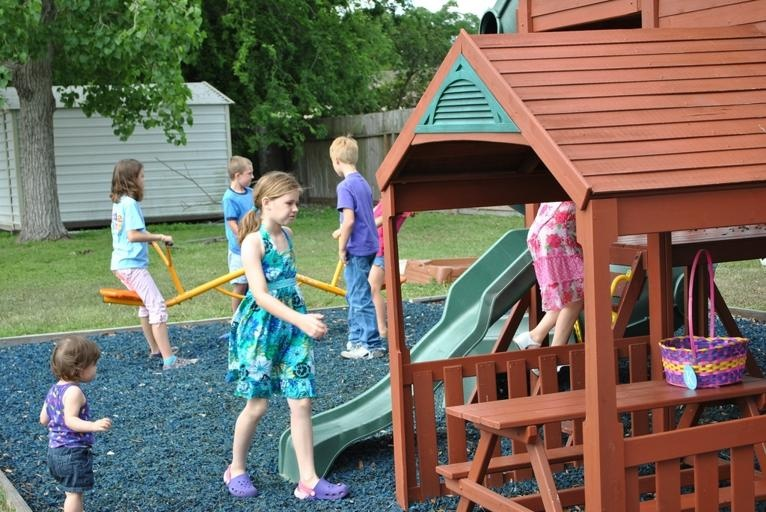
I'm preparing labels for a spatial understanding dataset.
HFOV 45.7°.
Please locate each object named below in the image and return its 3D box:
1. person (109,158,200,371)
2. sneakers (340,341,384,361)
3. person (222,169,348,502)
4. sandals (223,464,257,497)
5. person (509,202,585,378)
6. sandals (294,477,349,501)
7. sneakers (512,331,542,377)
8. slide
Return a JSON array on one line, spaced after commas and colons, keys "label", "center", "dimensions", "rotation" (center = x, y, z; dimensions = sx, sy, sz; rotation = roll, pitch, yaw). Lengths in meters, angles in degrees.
[{"label": "person", "center": [-2.296, 0.066, 8.731], "dimensions": [0.578, 2.003, 0.813], "rotation": [-6, 12, -15]}, {"label": "sneakers", "center": [-0.200, 0.930, 8.855], "dimensions": [0.420, 0.199, 0.159], "rotation": [-4, 7, -2]}, {"label": "person", "center": [-0.726, 0.555, 6.186], "dimensions": [0.848, 2.204, 0.530], "rotation": [1, 12, 15]}, {"label": "sandals", "center": [-0.990, 1.566, 6.317], "dimensions": [0.238, 0.099, 0.157], "rotation": [26, 24, 39]}, {"label": "person", "center": [1.278, 0.143, 6.909], "dimensions": [0.460, 1.128, 0.496], "rotation": [6, 15, 37]}, {"label": "sandals", "center": [-0.418, 1.614, 6.265], "dimensions": [0.273, 0.105, 0.159], "rotation": [-2, 2, 2]}, {"label": "sneakers", "center": [1.097, 0.723, 6.964], "dimensions": [0.160, 0.193, 0.452], "rotation": [7, 26, 3]}, {"label": "slide", "center": [0.178, 0.824, 7.245], "dimensions": [3.826, 0.814, 0.516], "rotation": [-27, 10, -38]}]
